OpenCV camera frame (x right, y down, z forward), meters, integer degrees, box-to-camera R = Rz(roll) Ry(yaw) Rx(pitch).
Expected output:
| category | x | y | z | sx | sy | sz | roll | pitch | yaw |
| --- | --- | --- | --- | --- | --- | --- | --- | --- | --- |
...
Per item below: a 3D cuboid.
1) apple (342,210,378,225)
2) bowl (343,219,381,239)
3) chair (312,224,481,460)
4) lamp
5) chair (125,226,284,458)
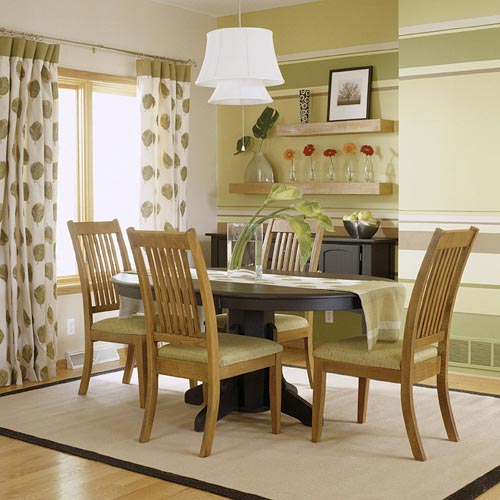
| category | x | y | z | sx | sy | sz | roll | pitch | yaw |
| --- | --- | --- | --- | --- | --- | --- | --- | --- | --- |
| apple | 0.884 | -0.266 | 3.935 | 0.152 | 0.086 | 0.161 | 1 | -1 | -42 |
| bowl | 0.878 | -0.172 | 3.931 | 0.188 | 0.096 | 0.186 | 1 | -5 | 0 |
| chair | 0.612 | 0.377 | 2.121 | 0.660 | 0.941 | 0.569 | -3 | -4 | 41 |
| lamp | -0.051 | -0.901 | 2.459 | 0.443 | 0.777 | 0.446 | -1 | -2 | 1 |
| chair | -0.234 | 0.376 | 2.176 | 0.547 | 0.950 | 0.656 | -2 | -3 | 35 |
